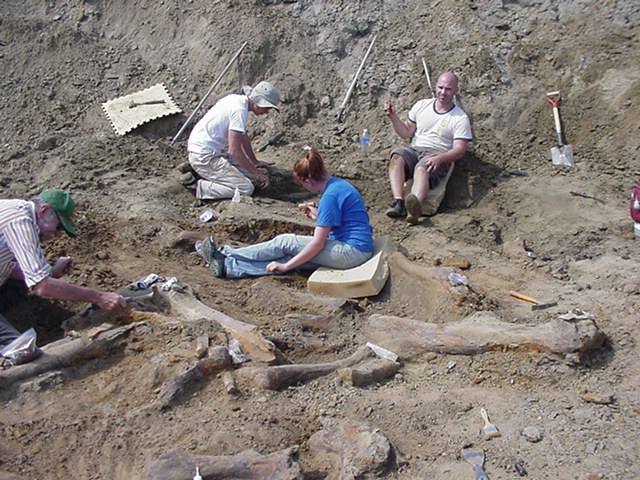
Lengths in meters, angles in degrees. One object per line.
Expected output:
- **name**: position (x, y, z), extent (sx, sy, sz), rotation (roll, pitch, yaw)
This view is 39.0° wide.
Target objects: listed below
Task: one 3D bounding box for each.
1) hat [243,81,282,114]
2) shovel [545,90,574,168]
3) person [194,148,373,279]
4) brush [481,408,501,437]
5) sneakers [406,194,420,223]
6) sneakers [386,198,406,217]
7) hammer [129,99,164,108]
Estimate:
- **hat**: position (-0.677, -1.793, 11.090), extent (0.197, 0.384, 0.414), rotation (-48, 15, 19)
- **shovel**: position (2.921, -1.377, 11.086), extent (0.276, 0.826, 0.604), rotation (-10, 22, 16)
- **person**: position (-0.316, -0.179, 9.729), extent (1.628, 1.331, 0.368), rotation (-15, 21, 7)
- **brush**: position (1.521, 1.654, 8.132), extent (0.150, 0.150, 0.269), rotation (-14, 22, 8)
- **sneakers**: position (1.074, -0.360, 10.401), extent (0.130, 0.389, 0.147), rotation (6, 37, 16)
- **sneakers**: position (0.901, -0.358, 10.640), extent (0.240, 0.223, 0.177), rotation (-18, 21, -2)
- **hammer**: position (-2.503, -1.973, 13.011), extent (0.439, 0.084, 0.092), rotation (-7, -8, -12)
